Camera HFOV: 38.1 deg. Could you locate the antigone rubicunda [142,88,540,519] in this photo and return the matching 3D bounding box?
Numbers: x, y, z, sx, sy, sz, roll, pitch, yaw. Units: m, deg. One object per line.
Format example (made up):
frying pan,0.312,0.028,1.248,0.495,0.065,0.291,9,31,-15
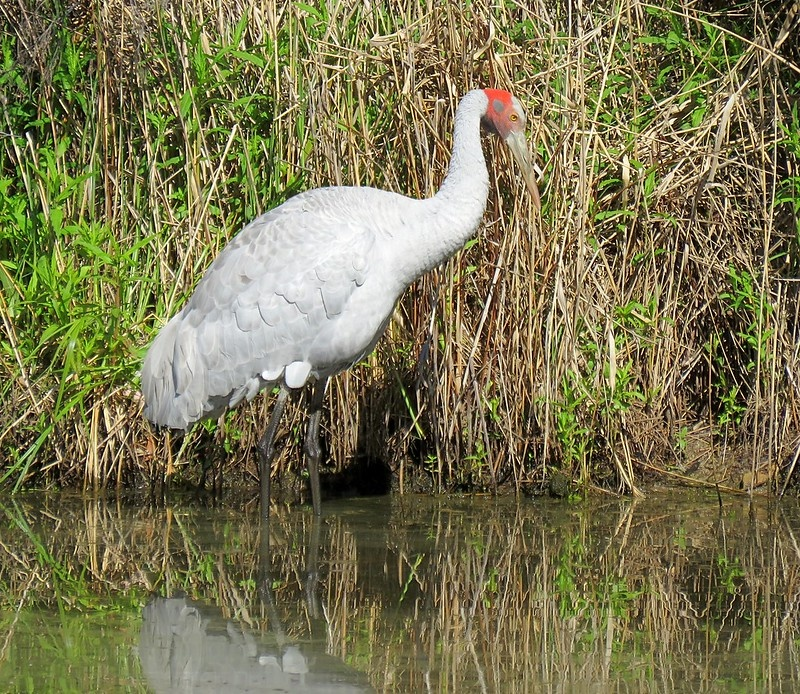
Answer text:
antigone rubicunda,-0.233,-0.175,6.442,1.671,2.241,0.694,2,0,-8
